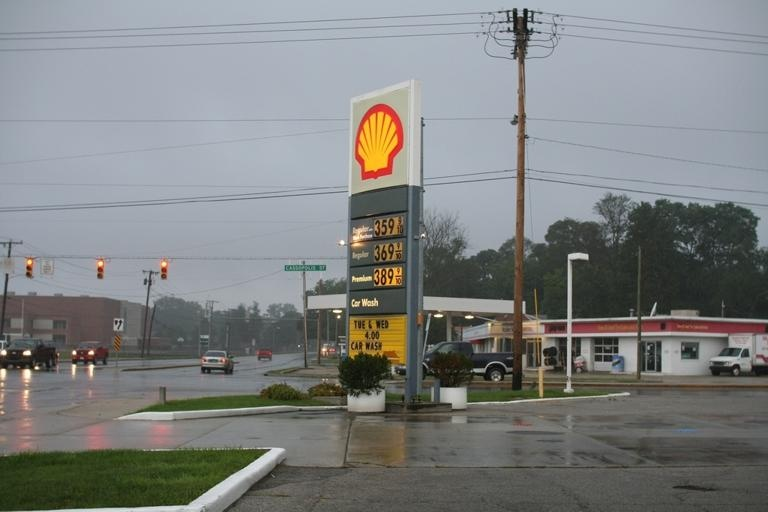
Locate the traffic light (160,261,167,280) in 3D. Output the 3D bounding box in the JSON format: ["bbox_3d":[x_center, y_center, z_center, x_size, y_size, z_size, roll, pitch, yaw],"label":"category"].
[{"bbox_3d":[-13.063,0.746,51.861,0.267,0.796,1.212,1,-10,-8],"label":"traffic light"}]

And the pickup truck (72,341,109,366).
[{"bbox_3d":[-24.007,8.044,71.428,2.010,1.465,3.431,-1,-12,2],"label":"pickup truck"}]

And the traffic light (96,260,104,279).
[{"bbox_3d":[-16.865,0.750,51.790,0.271,1.125,0.444,7,-12,-37],"label":"traffic light"}]

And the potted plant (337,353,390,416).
[{"bbox_3d":[-0.685,4.785,32.748,2.232,2.516,1.981,1,-10,-8],"label":"potted plant"}]

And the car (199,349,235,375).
[{"bbox_3d":[-11.198,7.256,59.878,1.227,1.018,2.766,-1,-11,2],"label":"car"}]

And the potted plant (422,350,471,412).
[{"bbox_3d":[2.747,4.885,34.292,1.940,2.418,1.769,1,-10,-4],"label":"potted plant"}]
